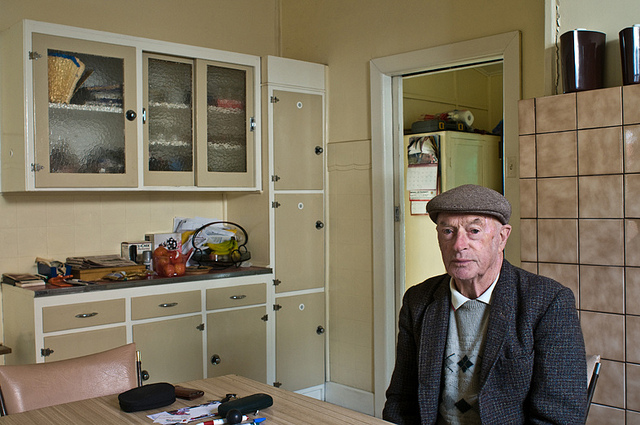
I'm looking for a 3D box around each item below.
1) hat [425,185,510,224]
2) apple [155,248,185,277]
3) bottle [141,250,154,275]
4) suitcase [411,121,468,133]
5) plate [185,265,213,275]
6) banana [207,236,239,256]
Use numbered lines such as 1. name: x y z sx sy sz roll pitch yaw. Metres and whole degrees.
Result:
1. hat: 0.654 -0.031 2.410 0.289 0.115 0.325 2 9 28
2. apple: -1.081 0.346 3.856 0.193 0.208 0.222 -5 4 -25
3. bottle: -1.251 0.360 3.886 0.078 0.160 0.149 -5 4 -17
4. suitcase: 1.061 -0.756 4.726 0.624 0.113 0.156 -6 5 -36
5. plate: -0.899 0.421 3.970 0.175 0.047 0.230 -4 4 -13
6. banana: -0.735 0.264 4.232 0.293 0.093 0.189 -10 -12 -10
